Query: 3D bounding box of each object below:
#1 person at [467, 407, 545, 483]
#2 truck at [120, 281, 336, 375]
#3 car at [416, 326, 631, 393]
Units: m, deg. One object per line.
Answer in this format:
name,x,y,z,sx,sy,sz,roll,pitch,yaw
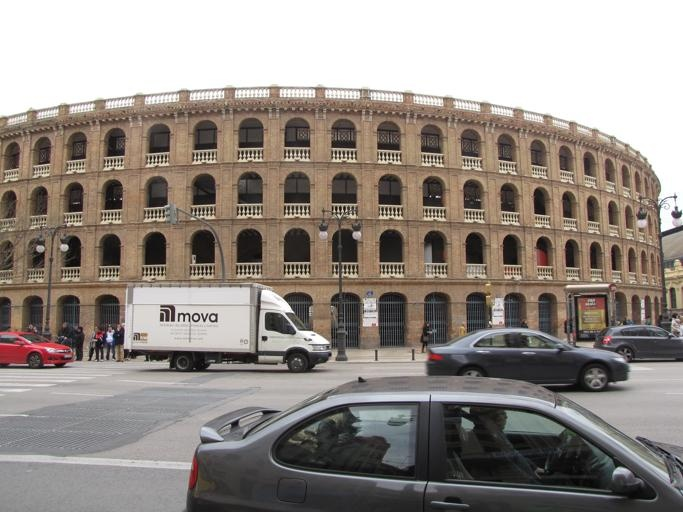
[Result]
person,1.939,2.324,7.575,0.784,0.879,0.176,-4,-7,10
truck,-4.174,2.927,24.500,7.941,3.138,3.012,-1,-8,16
car,5.204,2.784,16.950,5.160,1.645,2.140,0,-5,1
